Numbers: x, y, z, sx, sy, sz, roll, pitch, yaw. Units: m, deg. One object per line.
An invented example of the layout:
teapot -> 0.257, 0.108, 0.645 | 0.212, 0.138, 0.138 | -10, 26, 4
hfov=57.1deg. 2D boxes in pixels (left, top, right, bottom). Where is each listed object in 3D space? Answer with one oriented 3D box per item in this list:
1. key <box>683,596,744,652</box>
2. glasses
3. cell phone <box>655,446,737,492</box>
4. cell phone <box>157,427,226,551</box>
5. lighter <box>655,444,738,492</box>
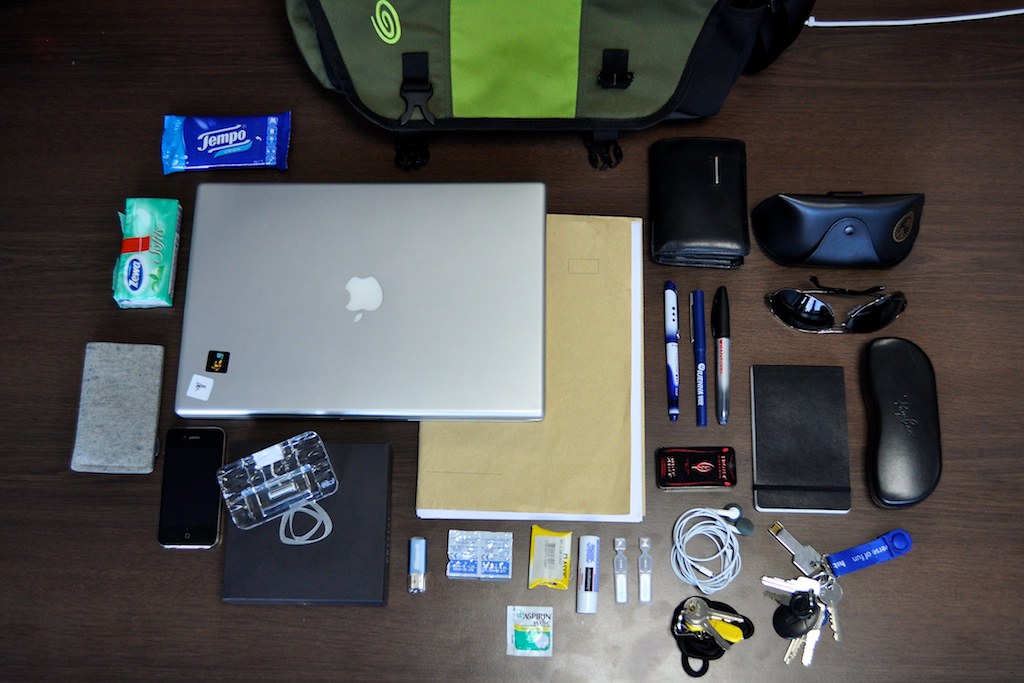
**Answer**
key -> 0.412, 0.575, 1.926 | 0.143, 0.051, 0.078 | 23, 70, 8
glasses -> 0.683, -0.013, 2.001 | 0.345, 0.097, 0.118 | 1, 80, 3
cell phone -> 0.381, 0.265, 1.969 | 0.166, 0.033, 0.084 | -1, 68, -1
cell phone -> -0.657, 0.300, 1.939 | 0.142, 0.034, 0.243 | 0, 86, -2
lighter -> 0.378, 0.266, 1.968 | 0.165, 0.039, 0.078 | 1, 82, 0
